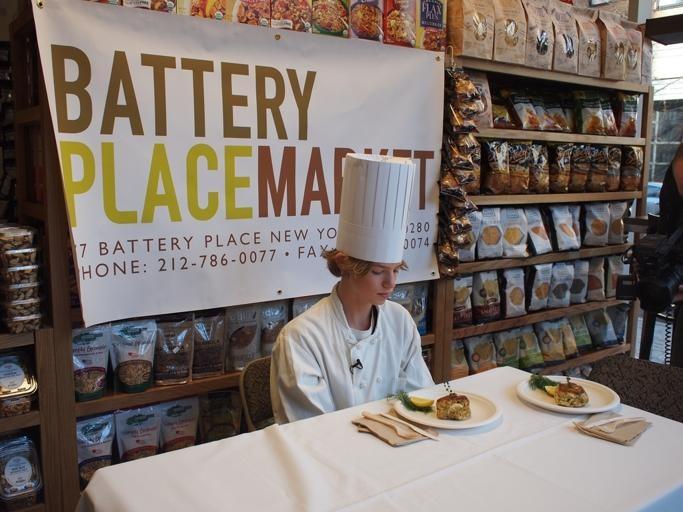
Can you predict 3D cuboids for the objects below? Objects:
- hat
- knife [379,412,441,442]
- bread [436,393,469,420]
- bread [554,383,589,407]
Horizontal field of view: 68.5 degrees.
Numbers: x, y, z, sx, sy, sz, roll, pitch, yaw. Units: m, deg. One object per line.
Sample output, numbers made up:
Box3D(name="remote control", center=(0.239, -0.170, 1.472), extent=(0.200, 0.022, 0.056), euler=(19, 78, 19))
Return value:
Box3D(name="hat", center=(0.136, -0.188, 2.017), extent=(0.303, 0.434, 0.171), euler=(0, 11, 0))
Box3D(name="knife", center=(0.214, 0.539, 1.573), extent=(0.020, 0.007, 0.147), euler=(-3, 14, -32))
Box3D(name="bread", center=(0.368, 0.498, 1.648), extent=(0.073, 0.063, 0.080), euler=(-1, -2, 0))
Box3D(name="bread", center=(0.798, 0.480, 1.724), extent=(0.072, 0.078, 0.079), euler=(-1, 3, -5))
